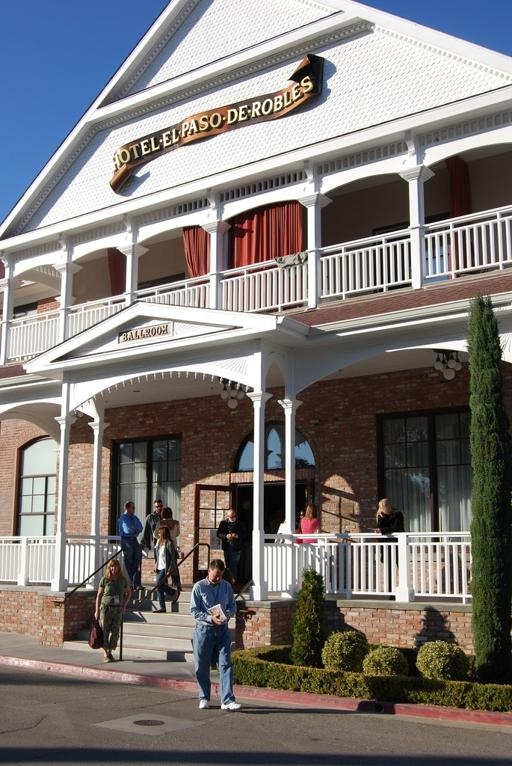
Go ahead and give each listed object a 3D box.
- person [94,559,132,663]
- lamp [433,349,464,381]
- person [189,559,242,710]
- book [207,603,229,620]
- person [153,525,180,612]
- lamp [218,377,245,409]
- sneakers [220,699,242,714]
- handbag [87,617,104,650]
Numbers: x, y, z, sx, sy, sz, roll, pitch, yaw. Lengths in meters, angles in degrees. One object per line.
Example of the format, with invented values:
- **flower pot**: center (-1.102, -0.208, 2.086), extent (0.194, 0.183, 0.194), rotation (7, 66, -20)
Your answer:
- **person**: center (-1.954, 3.069, 11.231), extent (0.433, 1.322, 0.600), rotation (2, -11, -7)
- **lamp**: center (3.076, -0.315, 13.169), extent (0.325, 0.342, 0.831), rotation (-2, 21, 7)
- **person**: center (-0.401, 2.453, 8.136), extent (0.476, 1.387, 0.641), rotation (1, -11, -5)
- **book**: center (-0.361, 2.195, 7.909), extent (0.146, 0.139, 0.034), rotation (-19, 8, 43)
- **person**: center (-1.432, 2.984, 13.331), extent (0.392, 1.341, 0.834), rotation (1, -11, -5)
- **lamp**: center (-0.434, 0.159, 15.222), extent (0.539, 0.601, 0.236), rotation (-4, -18, 14)
- **sneakers**: center (-0.234, 3.053, 7.801), extent (0.221, 0.108, 0.085), rotation (-7, -12, 26)
- **handbag**: center (-2.118, 3.350, 11.038), extent (0.172, 0.369, 0.250), rotation (3, -12, -12)
